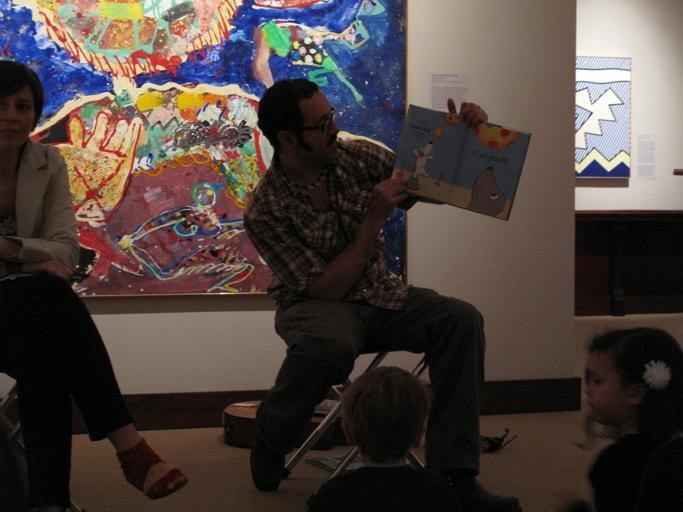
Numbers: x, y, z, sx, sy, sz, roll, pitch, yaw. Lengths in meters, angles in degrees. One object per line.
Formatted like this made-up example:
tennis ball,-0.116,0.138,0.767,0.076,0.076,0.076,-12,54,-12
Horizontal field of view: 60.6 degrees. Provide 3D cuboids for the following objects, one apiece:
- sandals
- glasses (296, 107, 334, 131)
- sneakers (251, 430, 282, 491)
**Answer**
sandals,-0.604,0.683,1.870,0.202,0.180,0.105,1,2,30
glasses,-0.092,-0.529,2.299,0.103,0.031,0.105,-12,28,10
sneakers,-0.281,0.798,2.223,0.119,0.224,0.147,-1,2,-9
